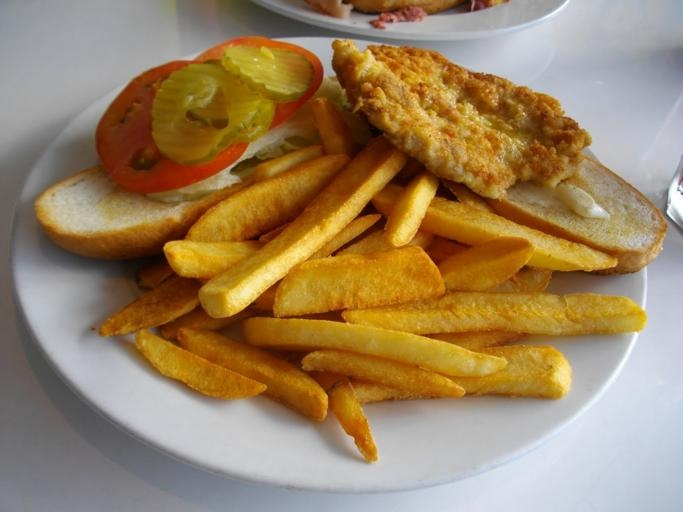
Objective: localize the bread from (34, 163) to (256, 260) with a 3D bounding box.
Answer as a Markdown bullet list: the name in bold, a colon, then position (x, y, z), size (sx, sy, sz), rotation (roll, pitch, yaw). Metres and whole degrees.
- **bread**: position (-0.815, -0.195, 2.797), size (0.747, 0.187, 0.327), rotation (-2, 42, -24)
